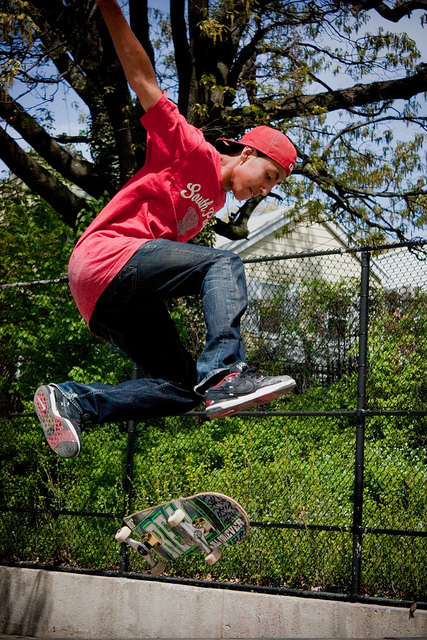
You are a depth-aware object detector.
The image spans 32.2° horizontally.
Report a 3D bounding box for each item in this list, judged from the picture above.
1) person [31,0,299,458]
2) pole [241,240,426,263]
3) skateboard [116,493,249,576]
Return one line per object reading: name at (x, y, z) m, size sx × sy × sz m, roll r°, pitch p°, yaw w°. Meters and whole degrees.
person at (-0.281, -0.414, 3.726) m, size 1.326 × 2.267 × 0.823 m, roll -4°, pitch 8°, yaw 14°
pole at (0.930, -0.522, 5.753) m, size 1.459 × 0.086 × 0.439 m, roll -2°, pitch 7°, yaw 21°
skateboard at (-0.119, 1.262, 4.592) m, size 0.945 × 0.397 × 0.258 m, roll -32°, pitch 3°, yaw 45°
